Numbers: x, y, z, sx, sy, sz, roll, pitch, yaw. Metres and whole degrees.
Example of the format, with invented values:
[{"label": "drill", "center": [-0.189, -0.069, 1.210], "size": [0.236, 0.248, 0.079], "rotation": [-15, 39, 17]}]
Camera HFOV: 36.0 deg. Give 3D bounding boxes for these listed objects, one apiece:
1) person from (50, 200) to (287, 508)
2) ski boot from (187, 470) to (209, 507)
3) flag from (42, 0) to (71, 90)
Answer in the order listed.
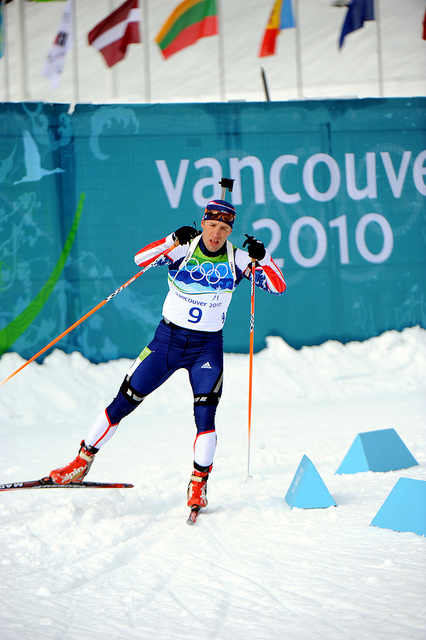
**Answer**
[{"label": "person", "center": [-0.220, 0.178, 4.355], "size": [1.395, 1.944, 0.668], "rotation": [-2, 3, 6]}, {"label": "ski boot", "center": [-0.090, 1.053, 4.128], "size": [0.086, 0.115, 0.251], "rotation": [7, 25, -4]}, {"label": "flag", "center": [-2.271, -4.020, 9.607], "size": [0.358, 1.061, 0.757], "rotation": [-4, 3, -26]}]
